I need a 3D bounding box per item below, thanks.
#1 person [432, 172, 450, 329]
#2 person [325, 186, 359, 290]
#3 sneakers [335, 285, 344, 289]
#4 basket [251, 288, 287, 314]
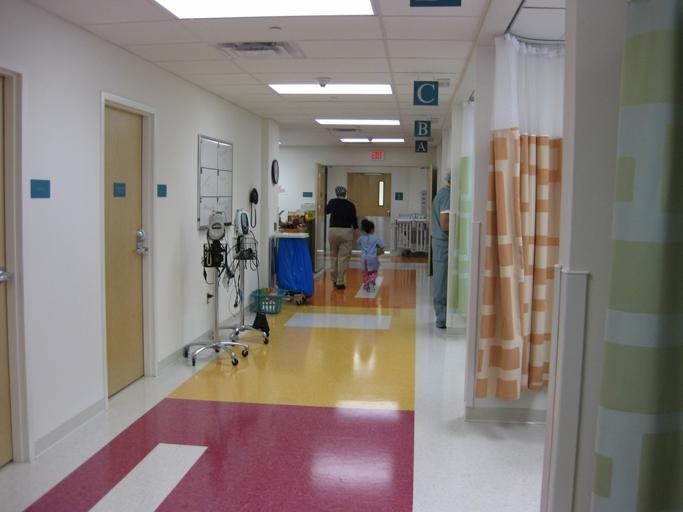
[{"bbox_3d":[1.260,-0.073,6.624,0.207,1.940,0.732,1,6,10],"label":"person"},{"bbox_3d":[0.008,-0.327,9.259,0.539,1.781,0.562,-1,6,-4],"label":"person"},{"bbox_3d":[-0.012,0.544,9.171,0.109,0.085,0.067,5,-5,-5],"label":"sneakers"},{"bbox_3d":[-1.055,0.626,7.406,0.447,0.322,0.456,0,7,0],"label":"basket"}]
